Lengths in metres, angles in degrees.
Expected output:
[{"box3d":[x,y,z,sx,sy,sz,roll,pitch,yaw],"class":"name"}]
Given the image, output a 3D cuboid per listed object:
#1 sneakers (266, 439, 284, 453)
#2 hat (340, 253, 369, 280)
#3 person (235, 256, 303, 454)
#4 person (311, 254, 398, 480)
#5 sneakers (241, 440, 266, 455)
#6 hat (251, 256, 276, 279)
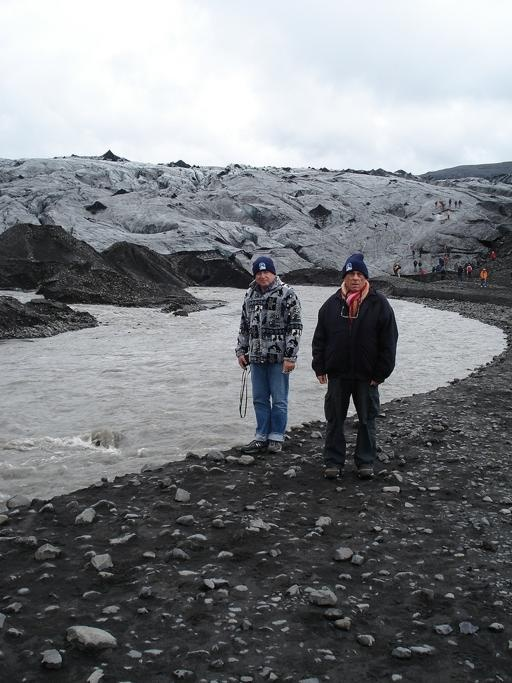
[{"box3d":[0.179,1.036,5.796,0.111,0.100,0.248,0,-15,3],"class":"sneakers"},{"box3d":[0.786,-0.604,4.673,0.200,0.182,0.245,5,0,-1],"class":"hat"},{"box3d":[0.120,0.158,5.585,0.605,1.928,0.688,-1,6,-3],"class":"person"},{"box3d":[0.789,0.225,4.809,0.686,1.867,0.350,1,6,14],"class":"person"},{"box3d":[-0.025,1.061,5.838,0.284,0.109,0.104,2,-4,-22],"class":"sneakers"},{"box3d":[0.066,-0.693,5.402,0.198,0.194,0.224,-4,2,3],"class":"hat"}]
